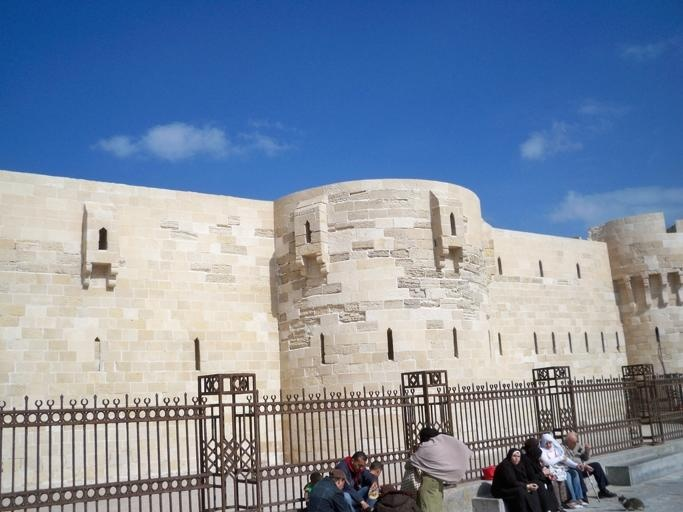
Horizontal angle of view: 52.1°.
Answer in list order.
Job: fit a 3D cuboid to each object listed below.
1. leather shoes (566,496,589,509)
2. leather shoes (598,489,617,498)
[{"bbox_3d":[5.270,5.404,15.416,0.576,0.233,0.188,1,-9,-15],"label":"leather shoes"},{"bbox_3d":[6.047,5.411,15.982,0.434,0.170,0.142,-3,-4,-2],"label":"leather shoes"}]
